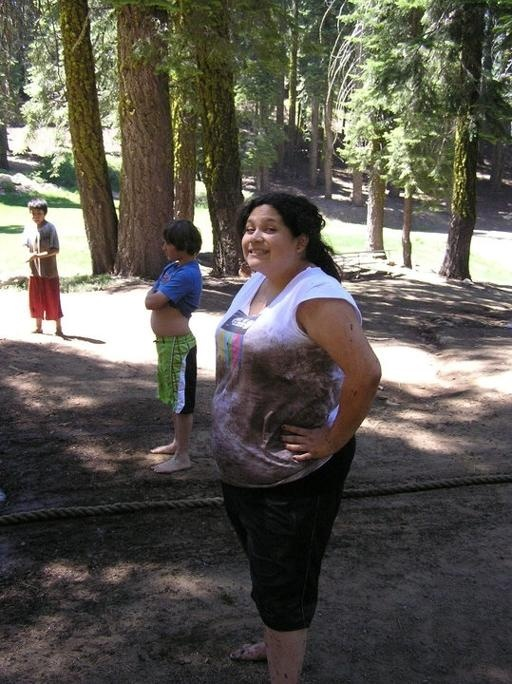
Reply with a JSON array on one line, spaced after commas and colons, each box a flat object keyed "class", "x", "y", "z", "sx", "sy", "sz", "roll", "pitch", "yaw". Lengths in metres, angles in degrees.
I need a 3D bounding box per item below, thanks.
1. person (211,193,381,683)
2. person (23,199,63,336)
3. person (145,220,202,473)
[{"class": "person", "x": 0.120, "y": 0.292, "z": 2.305, "sx": 0.469, "sy": 1.587, "sz": 0.541, "roll": -3, "pitch": 12, "yaw": -14}, {"class": "person", "x": -2.590, "y": -0.881, "z": 8.300, "sx": 0.387, "sy": 1.684, "sz": 0.349, "roll": -4, "pitch": 13, "yaw": -16}, {"class": "person", "x": -0.515, "y": 0.051, "z": 4.372, "sx": 0.340, "sy": 1.642, "sz": 0.351, "roll": 1, "pitch": 12, "yaw": 3}]
